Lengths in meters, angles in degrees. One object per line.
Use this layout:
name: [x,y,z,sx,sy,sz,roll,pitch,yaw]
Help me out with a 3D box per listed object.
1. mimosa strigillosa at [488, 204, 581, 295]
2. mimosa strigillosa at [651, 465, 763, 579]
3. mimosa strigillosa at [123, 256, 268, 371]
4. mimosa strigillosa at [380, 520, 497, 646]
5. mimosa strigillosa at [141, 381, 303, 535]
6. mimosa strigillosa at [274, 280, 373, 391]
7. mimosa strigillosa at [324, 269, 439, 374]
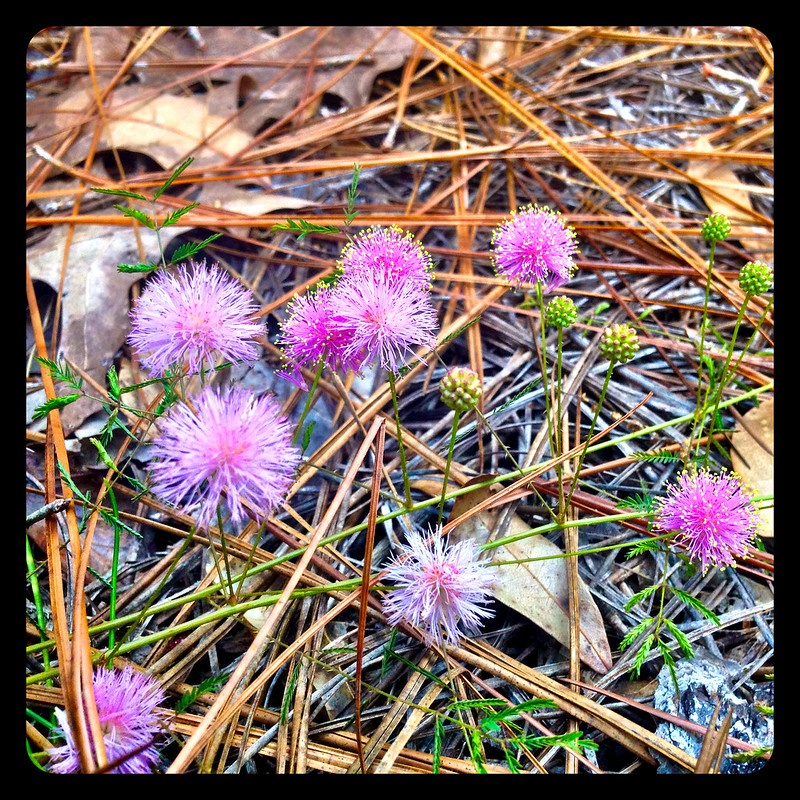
mimosa strigillosa: [0.341,-0.363,2.385,0.236,0.249,0.236,-3,66,2]
mimosa strigillosa: [0.772,0.285,2.242,0.248,0.241,0.148,1,87,-27]
mimosa strigillosa: [-0.509,-0.208,2.131,0.262,0.157,0.240,12,36,-13]
mimosa strigillosa: [0.062,0.462,2.230,0.288,0.181,0.289,-34,75,-18]
mimosa strigillosa: [-0.438,0.094,2.115,0.433,0.408,0.285,-6,86,-14]
mimosa strigillosa: [-0.205,-0.161,2.182,0.223,0.232,0.288,0,88,-5]
mimosa strigillosa: [-0.059,-0.244,2.203,0.318,0.308,0.186,9,81,-8]
